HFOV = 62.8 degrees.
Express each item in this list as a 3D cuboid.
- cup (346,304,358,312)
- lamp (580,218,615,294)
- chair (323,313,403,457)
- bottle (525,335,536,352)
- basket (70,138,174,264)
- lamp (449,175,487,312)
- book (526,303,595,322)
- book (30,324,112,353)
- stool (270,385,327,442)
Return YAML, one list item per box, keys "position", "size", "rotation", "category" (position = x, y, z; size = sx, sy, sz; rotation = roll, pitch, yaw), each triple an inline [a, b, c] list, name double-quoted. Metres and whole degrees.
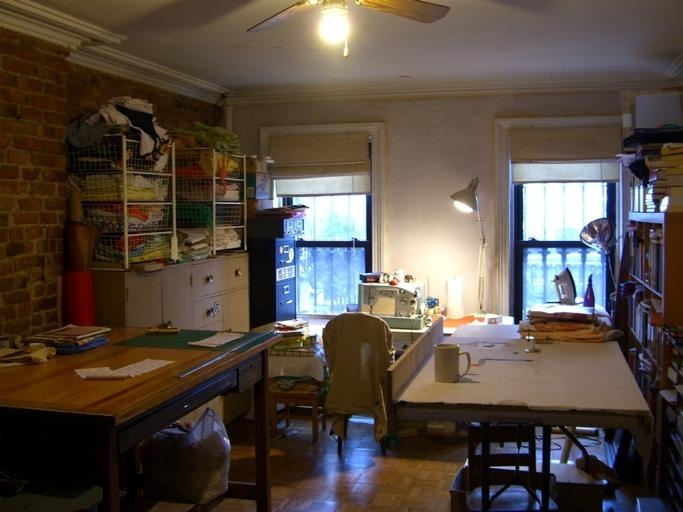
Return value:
- position: [0.098, 0.462, 4.981]
  size: [0.120, 0.062, 0.080]
  rotation: [9, -9, -44]
  category: "cup"
- position: [2.196, 0.023, 4.768]
  size: [0.253, 0.715, 0.709]
  rotation: [3, 8, 28]
  category: "lamp"
- position: [0.138, 0.917, 3.990]
  size: [0.521, 1.062, 0.496]
  rotation: [3, 8, 27]
  category: "chair"
- position: [1.148, 0.538, 3.384]
  size: [0.079, 0.071, 0.019]
  rotation: [-5, -28, 42]
  category: "bottle"
- position: [-1.446, -0.384, 3.873]
  size: [0.415, 0.872, 0.671]
  rotation: [5, 9, 39]
  category: "basket"
- position: [1.109, -0.082, 4.800]
  size: [0.282, 1.179, 0.613]
  rotation: [1, 8, 15]
  category: "lamp"
- position: [1.496, 0.366, 3.856]
  size: [0.433, 0.069, 0.549]
  rotation: [0, 7, 11]
  category: "book"
- position: [-1.303, 0.402, 2.755]
  size: [0.192, 0.056, 0.186]
  rotation: [3, 5, 21]
  category: "book"
- position: [-0.324, 1.214, 4.496]
  size: [0.449, 0.435, 0.430]
  rotation: [0, -3, 12]
  category: "stool"
